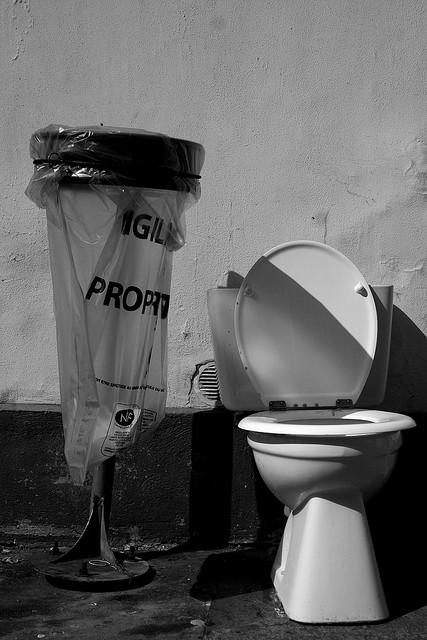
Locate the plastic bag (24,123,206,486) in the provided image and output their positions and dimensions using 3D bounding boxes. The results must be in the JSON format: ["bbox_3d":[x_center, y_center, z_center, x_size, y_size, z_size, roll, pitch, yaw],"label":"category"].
[{"bbox_3d":[-0.214,-0.011,1.777,0.552,0.914,0.533,8,-1,-20],"label":"plastic bag"}]

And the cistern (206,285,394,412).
[{"bbox_3d":[0.240,0.042,2.145,0.550,0.379,0.509,-2,10,-9],"label":"cistern"}]

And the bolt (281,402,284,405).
[{"bbox_3d":[0.195,0.238,1.831,0.011,0.009,0.002,-4,4,2],"label":"bolt"}]

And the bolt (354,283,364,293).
[{"bbox_3d":[0.422,-0.091,1.858,0.029,0.027,0.018,1,9,14],"label":"bolt"}]

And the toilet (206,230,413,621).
[{"bbox_3d":[0.295,0.273,1.778,0.600,0.895,0.679,0,2,-4],"label":"toilet"}]
